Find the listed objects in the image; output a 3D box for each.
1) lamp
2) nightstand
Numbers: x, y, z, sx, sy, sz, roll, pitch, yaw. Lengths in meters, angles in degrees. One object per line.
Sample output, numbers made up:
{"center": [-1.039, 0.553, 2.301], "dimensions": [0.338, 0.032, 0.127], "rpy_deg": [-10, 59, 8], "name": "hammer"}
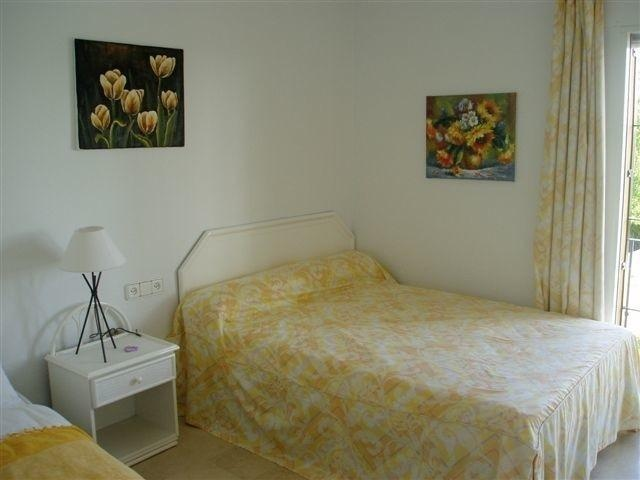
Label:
{"center": [-1.431, 0.323, 3.088], "dimensions": [0.409, 0.792, 0.337], "rpy_deg": [7, 14, 37], "name": "lamp"}
{"center": [-1.325, 0.911, 3.041], "dimensions": [0.556, 1.179, 0.721], "rpy_deg": [8, 13, 35], "name": "nightstand"}
